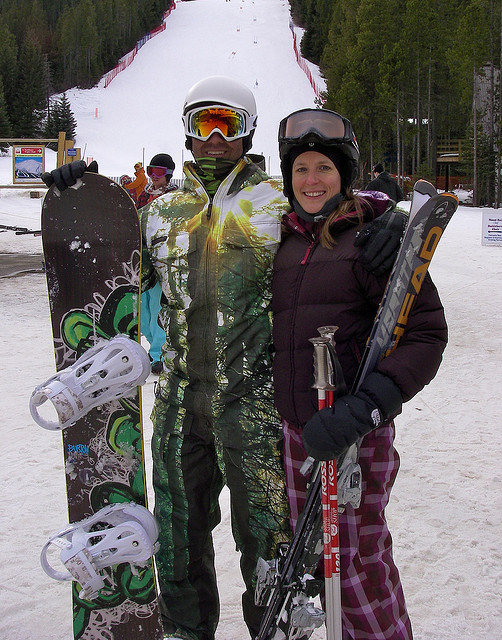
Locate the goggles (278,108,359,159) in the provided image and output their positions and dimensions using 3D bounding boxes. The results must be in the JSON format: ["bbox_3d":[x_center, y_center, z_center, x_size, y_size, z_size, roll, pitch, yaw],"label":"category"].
[{"bbox_3d":[0.202,-0.608,2.132,0.263,0.132,0.188,1,12,10],"label":"goggles"}]

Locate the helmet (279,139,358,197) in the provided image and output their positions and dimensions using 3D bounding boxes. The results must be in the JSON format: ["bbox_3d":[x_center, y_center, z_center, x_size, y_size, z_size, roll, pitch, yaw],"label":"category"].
[{"bbox_3d":[0.217,-0.456,2.156,0.180,0.211,0.211,0,23,14],"label":"helmet"}]

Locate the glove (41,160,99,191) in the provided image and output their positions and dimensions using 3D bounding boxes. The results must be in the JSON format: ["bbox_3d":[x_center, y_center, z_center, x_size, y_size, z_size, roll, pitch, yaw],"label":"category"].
[{"bbox_3d":[-0.665,-0.524,2.445,0.135,0.065,0.175,-21,9,11],"label":"glove"}]

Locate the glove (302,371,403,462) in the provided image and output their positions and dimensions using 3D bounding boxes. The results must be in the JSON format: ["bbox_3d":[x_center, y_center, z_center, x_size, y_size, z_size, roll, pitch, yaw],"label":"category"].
[{"bbox_3d":[0.262,0.251,1.741,0.292,0.097,0.162,-31,24,-14],"label":"glove"}]

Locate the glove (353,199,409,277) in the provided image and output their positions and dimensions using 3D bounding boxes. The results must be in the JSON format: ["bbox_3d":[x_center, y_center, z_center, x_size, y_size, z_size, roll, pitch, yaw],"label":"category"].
[{"bbox_3d":[0.392,-0.218,1.933,0.206,0.180,0.133,-11,16,-41],"label":"glove"}]

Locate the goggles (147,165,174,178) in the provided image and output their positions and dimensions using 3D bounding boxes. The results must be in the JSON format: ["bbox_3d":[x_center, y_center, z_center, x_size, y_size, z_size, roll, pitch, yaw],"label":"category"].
[{"bbox_3d":[-0.964,-1.529,7.029,0.162,0.063,0.188,7,9,16],"label":"goggles"}]

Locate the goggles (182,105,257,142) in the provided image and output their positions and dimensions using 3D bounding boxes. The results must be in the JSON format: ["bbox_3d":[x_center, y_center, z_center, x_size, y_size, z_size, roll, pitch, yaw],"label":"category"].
[{"bbox_3d":[-0.113,-0.687,2.353,0.245,0.122,0.118,-2,12,-7],"label":"goggles"}]
